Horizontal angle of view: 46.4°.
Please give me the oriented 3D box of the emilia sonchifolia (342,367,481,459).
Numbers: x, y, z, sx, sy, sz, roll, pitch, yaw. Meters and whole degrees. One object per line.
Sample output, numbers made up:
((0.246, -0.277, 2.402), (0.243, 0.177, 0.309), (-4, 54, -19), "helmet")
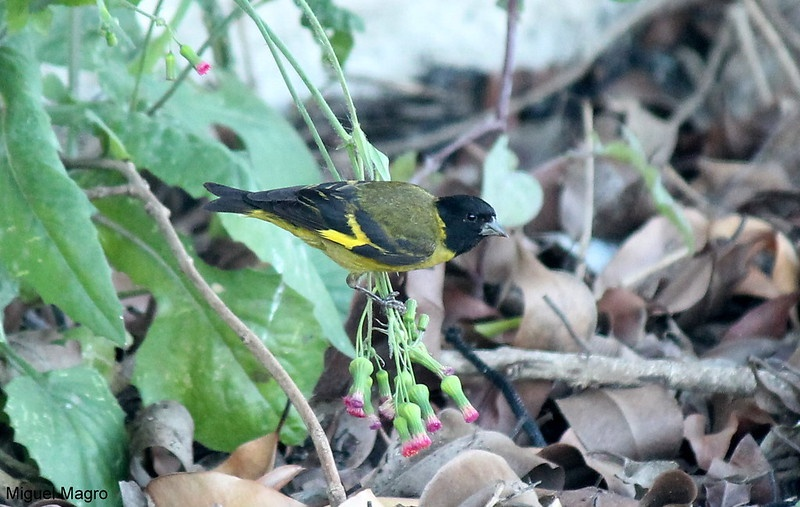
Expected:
((0.036, 0.660, 4.056), (0.520, 0.221, 0.403), (18, 27, 27), "emilia sonchifolia")
